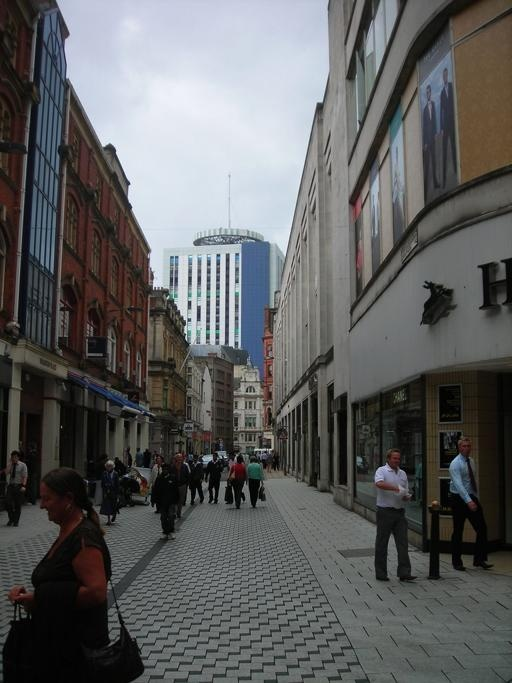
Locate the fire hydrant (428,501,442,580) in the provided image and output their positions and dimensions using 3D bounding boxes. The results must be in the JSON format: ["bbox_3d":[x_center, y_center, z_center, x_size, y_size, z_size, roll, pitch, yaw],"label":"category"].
[{"bbox_3d":[2.350,2.628,7.871,0.170,0.988,0.448,-3,-8,16],"label":"fire hydrant"}]

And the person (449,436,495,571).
[{"bbox_3d":[3.045,2.323,8.532,0.530,1.823,0.941,-5,-9,29],"label":"person"}]

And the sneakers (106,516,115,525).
[{"bbox_3d":[-3.868,4.784,15.889,0.132,0.265,0.535,1,-15,-2],"label":"sneakers"}]

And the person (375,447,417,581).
[{"bbox_3d":[1.846,2.336,8.060,0.513,1.712,0.560,-3,-8,14],"label":"person"}]

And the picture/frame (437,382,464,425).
[{"bbox_3d":[3.161,1.025,9.618,0.048,0.833,0.339,13,-21,-31],"label":"picture/frame"}]
